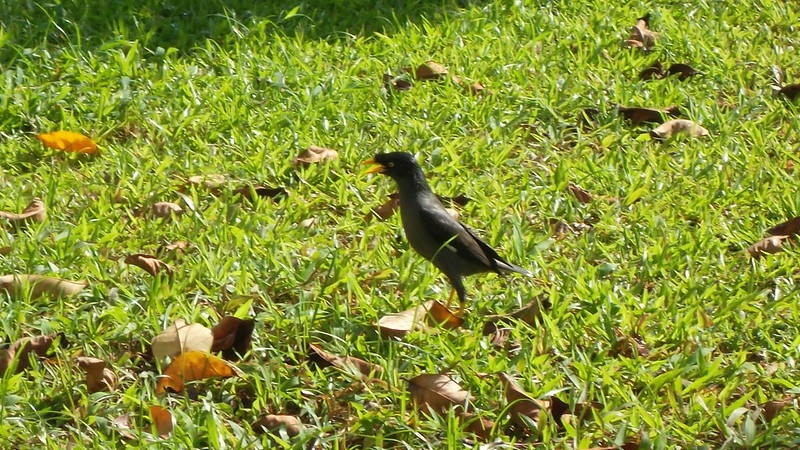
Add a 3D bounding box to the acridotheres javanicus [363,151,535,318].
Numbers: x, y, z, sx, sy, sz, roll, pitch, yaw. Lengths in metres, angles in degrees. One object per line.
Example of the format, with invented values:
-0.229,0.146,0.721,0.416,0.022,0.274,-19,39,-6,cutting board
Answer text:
0.287,0.032,5.128,0.986,0.964,0.602,0,4,-26,acridotheres javanicus
